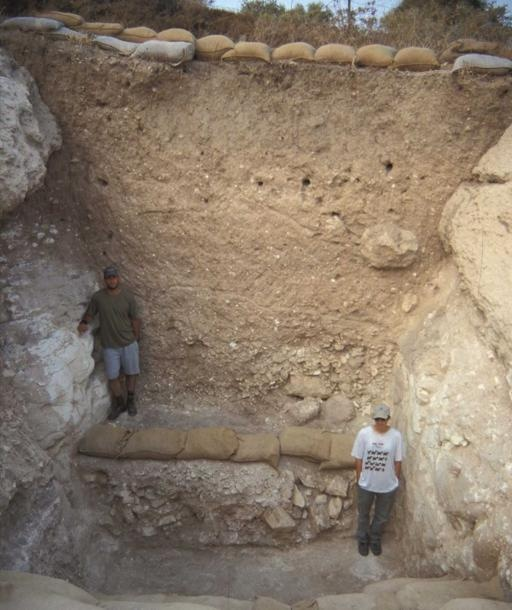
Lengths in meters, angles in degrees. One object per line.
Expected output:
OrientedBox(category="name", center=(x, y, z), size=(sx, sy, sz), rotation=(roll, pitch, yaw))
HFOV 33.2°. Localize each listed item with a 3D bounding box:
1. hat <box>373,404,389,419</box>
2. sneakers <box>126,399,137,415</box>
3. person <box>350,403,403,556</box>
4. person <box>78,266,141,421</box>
OrientedBox(category="hat", center=(0.930, 0.796, 6.461), size=(0.116, 0.107, 0.136), rotation=(2, 36, 3))
OrientedBox(category="sneakers", center=(-1.113, 0.923, 7.710), size=(0.057, 0.121, 0.162), rotation=(0, 14, -12))
OrientedBox(category="person", center=(0.919, 1.373, 6.622), size=(0.382, 1.208, 0.312), rotation=(3, 11, 8))
OrientedBox(category="person", center=(-1.260, 0.379, 7.547), size=(0.535, 1.189, 0.557), rotation=(-7, 35, -10))
